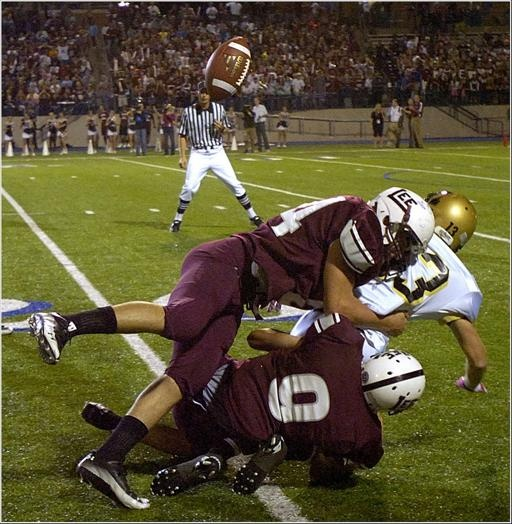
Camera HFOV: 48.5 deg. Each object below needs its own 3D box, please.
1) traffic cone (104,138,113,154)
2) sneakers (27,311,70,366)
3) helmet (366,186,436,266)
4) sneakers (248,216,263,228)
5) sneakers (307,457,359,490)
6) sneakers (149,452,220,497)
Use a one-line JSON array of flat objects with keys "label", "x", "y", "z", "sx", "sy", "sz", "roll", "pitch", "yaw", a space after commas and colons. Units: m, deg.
[{"label": "traffic cone", "x": -6.276, "y": -4.985, "z": 24.371, "sx": 0.318, "sy": 0.611, "sz": 0.691, "roll": -3, "pitch": 13, "yaw": -24}, {"label": "sneakers", "x": -0.735, "y": 0.274, "z": 2.044, "sx": 0.130, "sy": 0.188, "sz": 0.172, "roll": -6, "pitch": 15, "yaw": -35}, {"label": "helmet", "x": 0.581, "y": -0.145, "z": 2.272, "sx": 0.253, "sy": 0.286, "sz": 0.236, "roll": 2, "pitch": 12, "yaw": 0}, {"label": "sneakers", "x": -0.006, "y": -0.584, "z": 8.217, "sx": 0.148, "sy": 0.129, "sz": 0.387, "roll": -4, "pitch": 16, "yaw": -25}, {"label": "sneakers", "x": 0.285, "y": 0.809, "z": 2.179, "sx": 0.162, "sy": 0.043, "sz": 0.114, "roll": 1, "pitch": 1, "yaw": -3}, {"label": "sneakers", "x": -0.195, "y": 0.743, "z": 2.037, "sx": 0.330, "sy": 0.091, "sz": 0.136, "roll": -14, "pitch": -5, "yaw": 1}]
